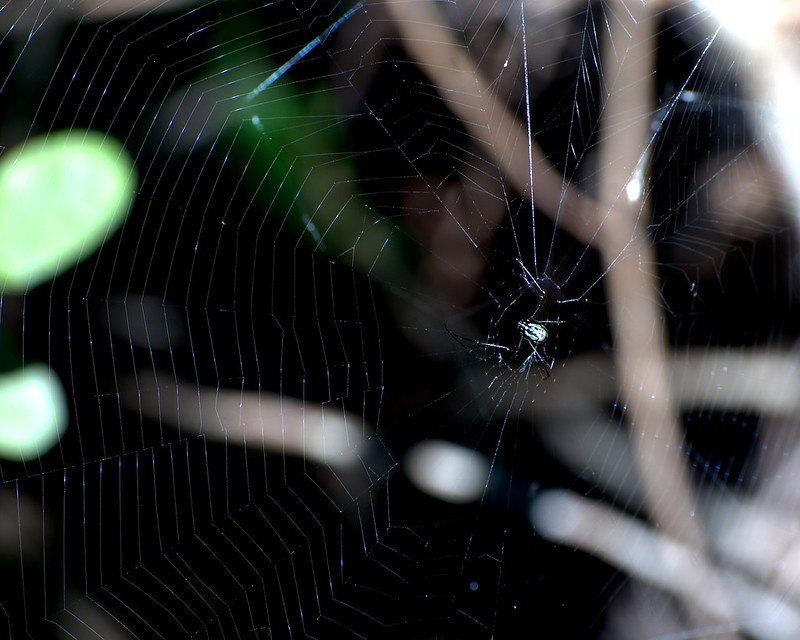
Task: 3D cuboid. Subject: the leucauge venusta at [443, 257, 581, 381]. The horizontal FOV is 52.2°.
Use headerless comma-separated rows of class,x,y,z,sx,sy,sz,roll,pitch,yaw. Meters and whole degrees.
leucauge venusta,0.533,0.005,3.700,0.380,0.392,0.581,-5,99,-4
